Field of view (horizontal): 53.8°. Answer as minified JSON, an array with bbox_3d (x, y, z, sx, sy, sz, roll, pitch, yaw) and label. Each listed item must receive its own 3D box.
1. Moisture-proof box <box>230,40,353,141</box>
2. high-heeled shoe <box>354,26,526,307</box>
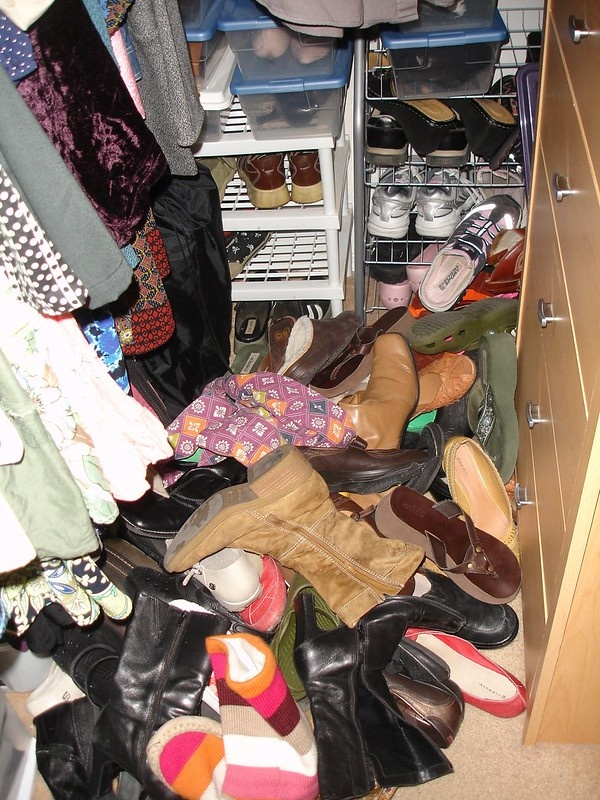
[{"bbox_3d":[0.002,-0.749,1.375,0.266,0.151,0.363,-2,53,7],"label":"Moisture-proof box"},{"bbox_3d":[0.317,-0.673,1.467,0.344,0.435,0.240,0,42,-1],"label":"high-heeled shoe"}]
